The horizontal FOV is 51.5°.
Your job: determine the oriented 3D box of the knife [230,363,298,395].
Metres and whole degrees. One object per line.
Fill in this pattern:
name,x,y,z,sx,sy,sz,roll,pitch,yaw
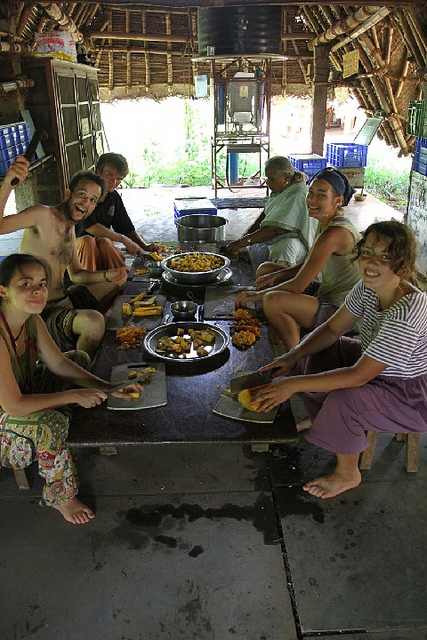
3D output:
knife,0.233,0.273,2.082,0.298,0.028,0.077,-16,53,-21

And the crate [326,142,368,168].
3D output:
crate,2.912,-3.718,9.645,0.643,0.412,0.958,6,33,7

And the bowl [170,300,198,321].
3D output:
bowl,-0.175,-0.060,2.781,0.166,0.075,0.217,-2,19,-3

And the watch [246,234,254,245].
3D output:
watch,0.346,-0.781,4.290,0.071,0.089,0.105,16,26,39

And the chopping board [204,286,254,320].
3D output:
chopping board,0.103,-0.155,3.066,0.336,0.104,0.672,1,19,5

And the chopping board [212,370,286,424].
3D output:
chopping board,0.155,0.377,1.973,0.263,0.046,0.241,6,20,17

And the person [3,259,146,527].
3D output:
person,-0.718,0.311,2.036,0.615,1.165,0.513,13,25,33

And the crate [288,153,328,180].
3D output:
crate,2.038,-3.332,9.584,0.756,0.532,1.183,3,20,9

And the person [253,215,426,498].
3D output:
person,0.591,0.178,2.140,0.784,1.297,0.626,1,21,4

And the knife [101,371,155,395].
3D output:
knife,-0.387,0.296,2.066,0.033,0.021,0.260,38,34,25

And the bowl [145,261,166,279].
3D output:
bowl,-0.457,-0.430,3.609,0.155,0.075,0.156,0,21,0

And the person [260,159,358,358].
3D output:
person,0.642,-0.336,3.129,0.746,1.405,0.499,-1,28,-1

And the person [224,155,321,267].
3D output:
person,0.600,-0.982,4.347,0.936,1.124,1.134,-5,20,-5

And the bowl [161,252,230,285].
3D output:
bowl,-0.139,-0.413,3.463,0.518,0.166,0.604,-3,19,-6

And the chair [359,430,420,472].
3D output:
chair,0.907,0.683,2.287,0.282,0.246,0.274,0,7,12

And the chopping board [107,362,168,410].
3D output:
chopping board,-0.350,0.307,2.115,0.264,0.021,0.452,-2,20,-8

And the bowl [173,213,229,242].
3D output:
bowl,-0.129,-0.990,4.741,0.419,0.238,0.396,0,30,0
